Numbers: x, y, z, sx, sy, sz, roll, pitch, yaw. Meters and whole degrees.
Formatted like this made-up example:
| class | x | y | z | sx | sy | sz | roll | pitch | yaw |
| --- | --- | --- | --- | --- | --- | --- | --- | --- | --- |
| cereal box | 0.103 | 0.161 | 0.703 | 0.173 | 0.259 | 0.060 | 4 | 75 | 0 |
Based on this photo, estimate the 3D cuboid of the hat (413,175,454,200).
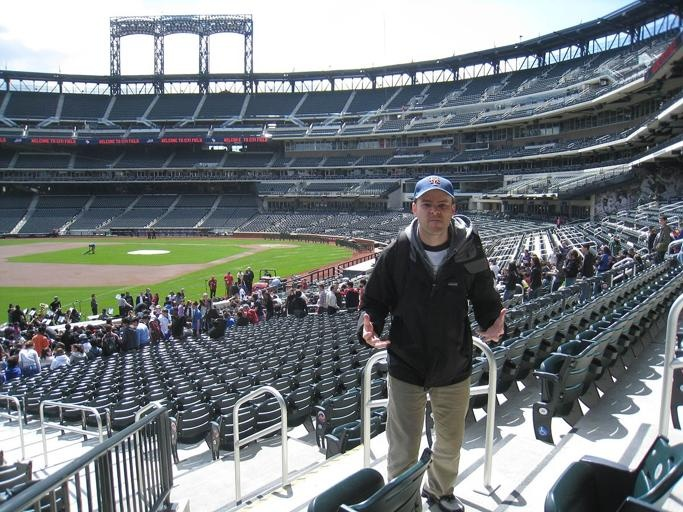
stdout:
| class | x | y | z | sx | sy | sz | roll | pitch | yaw |
| --- | --- | --- | --- | --- | --- | --- | --- | --- | --- |
| hat | 0.711 | -0.538 | 4.037 | 0.309 | 0.197 | 0.460 | -6 | -1 | 8 |

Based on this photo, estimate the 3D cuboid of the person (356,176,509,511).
| class | x | y | z | sx | sy | sz | roll | pitch | yaw |
| --- | --- | --- | --- | --- | --- | --- | --- | --- | --- |
| person | 0.699 | 0.677 | 3.945 | 1.113 | 2.541 | 0.359 | -7 | 0 | -10 |
